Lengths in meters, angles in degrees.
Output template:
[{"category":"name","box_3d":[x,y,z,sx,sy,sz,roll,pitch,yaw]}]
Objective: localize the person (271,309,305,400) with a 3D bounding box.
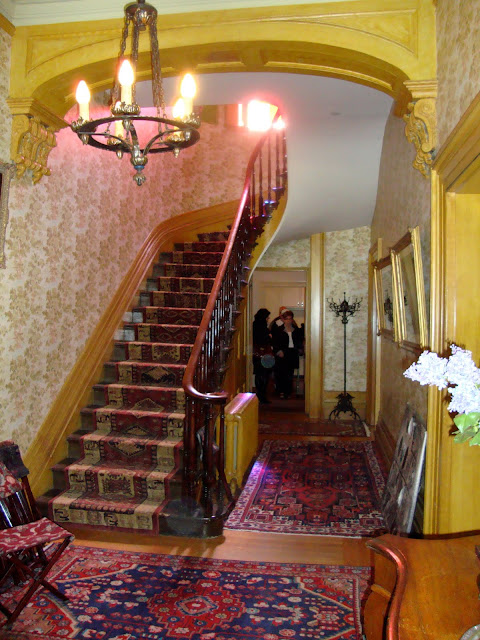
[{"category":"person","box_3d":[1.056,0.737,9.959,0.725,1.954,0.756,0,-4,6]}]

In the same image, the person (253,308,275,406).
[{"category":"person","box_3d":[0.506,0.736,9.772,0.478,2.046,0.821,0,-4,2]}]

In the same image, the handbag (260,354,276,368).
[{"category":"handbag","box_3d":[0.580,0.879,9.570,0.272,0.265,0.062,-5,-15,-18]}]
